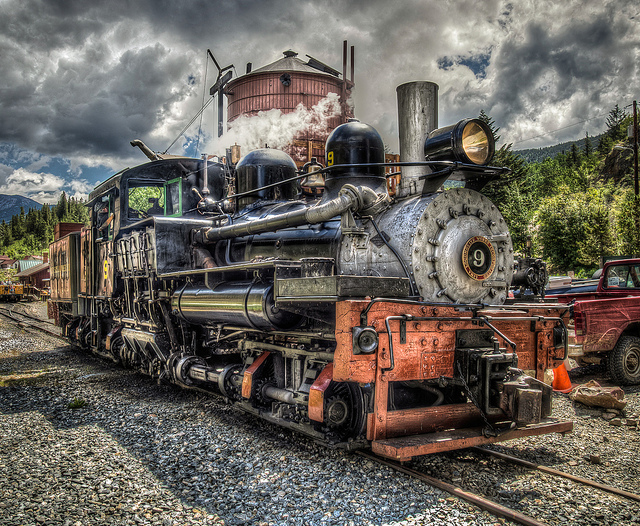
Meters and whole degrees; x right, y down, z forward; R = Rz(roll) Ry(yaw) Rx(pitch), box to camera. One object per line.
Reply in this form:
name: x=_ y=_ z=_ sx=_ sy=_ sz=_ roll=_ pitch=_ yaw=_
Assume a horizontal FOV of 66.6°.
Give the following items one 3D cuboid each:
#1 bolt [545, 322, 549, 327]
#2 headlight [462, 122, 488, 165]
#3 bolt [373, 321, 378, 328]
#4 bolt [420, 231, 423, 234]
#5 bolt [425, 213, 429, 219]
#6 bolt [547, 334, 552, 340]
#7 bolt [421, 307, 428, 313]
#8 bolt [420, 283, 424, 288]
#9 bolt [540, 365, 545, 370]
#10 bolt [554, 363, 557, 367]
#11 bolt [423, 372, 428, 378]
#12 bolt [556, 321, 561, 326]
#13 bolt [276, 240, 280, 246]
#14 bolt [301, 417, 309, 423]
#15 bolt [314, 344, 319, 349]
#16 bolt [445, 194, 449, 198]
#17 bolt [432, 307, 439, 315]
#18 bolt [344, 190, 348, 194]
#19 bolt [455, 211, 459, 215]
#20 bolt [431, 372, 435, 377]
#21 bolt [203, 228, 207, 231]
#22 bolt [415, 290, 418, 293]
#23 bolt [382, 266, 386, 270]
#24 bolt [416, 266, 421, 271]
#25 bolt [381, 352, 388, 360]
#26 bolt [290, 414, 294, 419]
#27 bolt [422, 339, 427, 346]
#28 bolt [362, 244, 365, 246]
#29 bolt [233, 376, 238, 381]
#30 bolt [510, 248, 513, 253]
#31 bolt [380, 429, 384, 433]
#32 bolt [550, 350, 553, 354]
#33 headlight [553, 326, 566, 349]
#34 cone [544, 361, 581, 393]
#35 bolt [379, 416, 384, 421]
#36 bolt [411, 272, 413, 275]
bolt: x=2.569 y=0.695 z=5.538 sx=0.065 sy=0.052 sz=0.008 roll=1 pitch=-1 yaw=-33
headlight: x=1.662 y=-1.287 z=5.235 sx=0.166 sy=0.413 sz=0.350 roll=1 pitch=27 yaw=47
bolt: x=0.501 y=0.562 z=4.446 sx=0.050 sy=0.058 sz=0.006 roll=0 pitch=-1 yaw=-27
bolt: x=1.021 y=-0.319 z=4.942 sx=0.024 sy=0.025 sz=0.026 roll=2 pitch=-3 yaw=-12
bolt: x=1.089 y=-0.485 z=4.992 sx=0.050 sy=0.058 sz=0.012 roll=1 pitch=-2 yaw=-36
bolt: x=2.618 y=0.848 z=5.572 sx=0.082 sy=0.059 sz=0.014 roll=1 pitch=-2 yaw=-41
bolt: x=0.998 y=0.451 z=4.675 sx=0.046 sy=0.038 sz=0.046 roll=-3 pitch=3 yaw=-38
bolt: x=1.019 y=0.230 z=4.896 sx=0.007 sy=0.032 sz=0.061 roll=-1 pitch=-2 yaw=44
bolt: x=2.494 y=1.176 z=5.483 sx=0.090 sy=0.052 sz=0.008 roll=1 pitch=-2 yaw=-36
bolt: x=2.726 y=1.183 z=5.652 sx=0.026 sy=0.046 sz=0.086 roll=-1 pitch=-2 yaw=33
bolt: x=1.013 y=1.077 z=4.690 sx=0.055 sy=0.052 sz=0.031 roll=0 pitch=1 yaw=-3
bolt: x=2.754 y=0.702 z=5.647 sx=0.069 sy=0.051 sz=0.014 roll=1 pitch=-2 yaw=-33
bolt: x=-0.546 y=-0.265 z=6.340 sx=0.045 sy=0.063 sz=0.018 roll=-11 pitch=-15 yaw=36
bolt: x=-0.166 y=1.704 z=5.283 sx=0.062 sy=0.033 sz=0.090 roll=2 pitch=-7 yaw=-15
bolt: x=-0.034 y=0.928 z=5.426 sx=0.030 sy=0.042 sz=0.041 roll=2 pitch=-3 yaw=-15
bolt: x=1.336 y=-0.720 z=5.153 sx=0.058 sy=0.024 sz=0.012 roll=1 pitch=-2 yaw=-43
bolt: x=1.115 y=0.463 z=4.722 sx=0.072 sy=0.073 sz=0.008 roll=0 pitch=-1 yaw=-27
bolt: x=0.280 y=-0.783 z=5.360 sx=0.027 sy=0.030 sz=0.065 roll=-8 pitch=11 yaw=-7
bolt: x=1.441 y=-0.536 z=5.169 sx=0.027 sy=0.030 sz=0.015 roll=1 pitch=-4 yaw=-5
bolt: x=1.087 y=1.083 z=4.722 sx=0.035 sy=0.063 sz=0.033 roll=1 pitch=-7 yaw=-2
bolt: x=-1.818 y=-0.536 z=7.706 sx=0.039 sy=0.050 sz=0.124 roll=1 pitch=-2 yaw=-44
bolt: x=0.959 y=0.285 z=4.854 sx=0.016 sy=0.020 sz=0.016 roll=16 pitch=2 yaw=43
bolt: x=0.667 y=0.050 z=5.092 sx=0.037 sy=0.022 sz=0.038 roll=-2 pitch=5 yaw=25
bolt: x=0.977 y=0.053 z=4.896 sx=0.045 sy=0.044 sz=0.008 roll=1 pitch=-2 yaw=-40
bolt: x=0.598 y=0.859 z=4.473 sx=0.049 sy=0.052 sz=0.017 roll=8 pitch=-6 yaw=-29
bolt: x=-0.322 y=1.735 z=5.502 sx=0.056 sy=0.025 sz=0.078 roll=2 pitch=-3 yaw=-19
bolt: x=0.999 y=0.765 z=4.679 sx=0.058 sy=0.062 sz=0.016 roll=1 pitch=-2 yaw=-39
bolt: x=0.472 y=-0.199 z=5.333 sx=0.028 sy=0.015 sz=0.008 roll=-1 pitch=-2 yaw=35
bolt: x=-1.118 y=1.529 z=6.442 sx=0.071 sy=0.025 sz=0.074 roll=1 pitch=-5 yaw=-2
bolt: x=2.174 y=-0.147 z=5.564 sx=0.025 sy=0.050 sz=0.049 roll=-7 pitch=26 yaw=20
bolt: x=0.583 y=1.595 z=4.612 sx=0.027 sy=0.030 sz=0.028 roll=0 pitch=-1 yaw=16
bolt: x=2.641 y=1.018 z=5.585 sx=0.045 sy=0.039 sz=0.007 roll=1 pitch=-2 yaw=-37
headlight: x=2.753 y=0.860 z=5.631 sx=0.169 sy=0.252 sz=0.036 roll=0 pitch=-1 yaw=-22
cone: x=3.632 y=1.713 z=7.293 sx=0.268 sy=0.451 sz=0.404 roll=-1 pitch=-1 yaw=14
bolt: x=0.578 y=1.477 z=4.603 sx=0.050 sy=0.042 sz=0.012 roll=1 pitch=-2 yaw=-42
bolt: x=0.914 y=0.101 z=4.871 sx=0.027 sy=0.027 sz=0.028 roll=4 pitch=7 yaw=36
